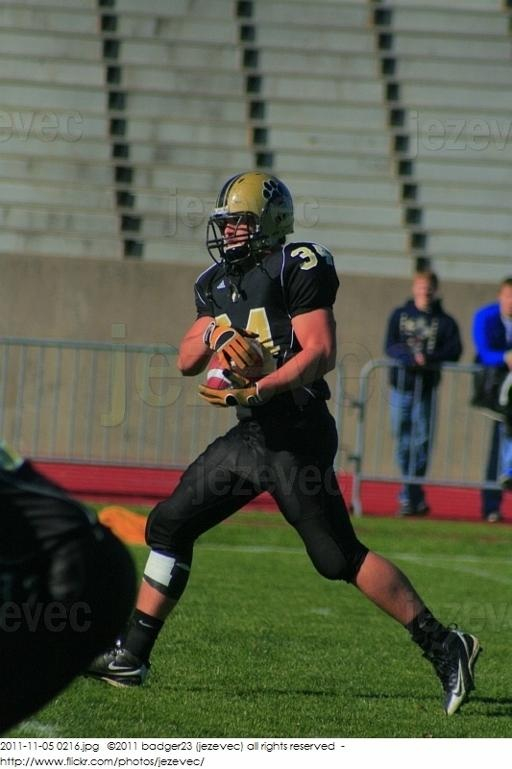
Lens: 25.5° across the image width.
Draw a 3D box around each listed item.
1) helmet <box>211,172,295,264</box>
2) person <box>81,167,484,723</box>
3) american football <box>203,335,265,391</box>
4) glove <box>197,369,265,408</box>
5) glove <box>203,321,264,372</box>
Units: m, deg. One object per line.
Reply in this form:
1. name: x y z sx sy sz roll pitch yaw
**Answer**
1. helmet: -0.054 -0.546 3.720 0.386 0.271 0.278 -5 0 -39
2. person: 0.123 0.127 3.517 1.117 1.594 0.638 6 7 1
3. american football: -0.086 -0.062 3.423 0.216 0.133 0.142 -17 -15 5
4. glove: -0.108 0.004 3.348 0.181 0.100 0.060 -1 -19 7
5. glove: -0.099 -0.113 3.374 0.188 0.127 0.127 6 7 10
